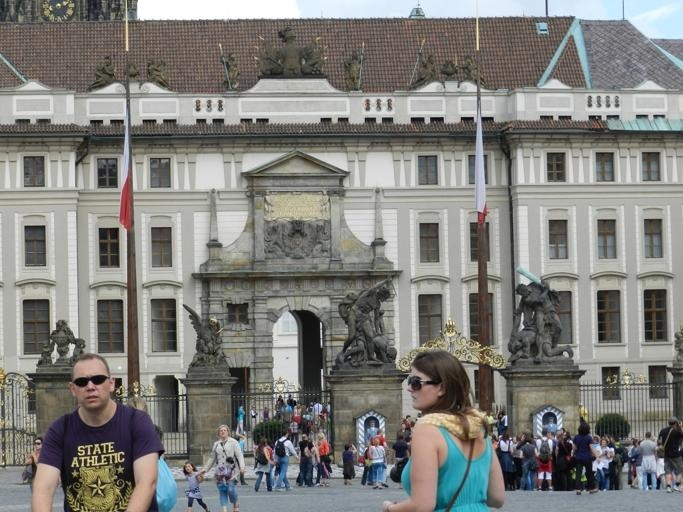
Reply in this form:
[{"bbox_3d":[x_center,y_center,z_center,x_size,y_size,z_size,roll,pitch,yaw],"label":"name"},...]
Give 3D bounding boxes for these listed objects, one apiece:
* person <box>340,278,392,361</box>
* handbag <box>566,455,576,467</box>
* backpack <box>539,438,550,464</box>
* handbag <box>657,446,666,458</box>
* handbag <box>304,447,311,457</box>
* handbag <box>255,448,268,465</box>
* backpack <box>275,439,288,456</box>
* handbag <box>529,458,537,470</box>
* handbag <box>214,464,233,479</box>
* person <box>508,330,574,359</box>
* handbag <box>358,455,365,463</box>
[{"bbox_3d":[0.822,2.552,71.548,1.243,3.446,0.926,-5,-4,-27],"label":"person"},{"bbox_3d":[7.340,6.534,65.523,0.150,0.358,0.332,8,-13,-41],"label":"handbag"},{"bbox_3d":[6.588,6.340,66.564,0.444,0.581,0.631,3,-10,1],"label":"backpack"},{"bbox_3d":[10.155,6.179,65.228,0.169,0.341,0.415,0,-10,-7],"label":"handbag"},{"bbox_3d":[-1.073,6.388,67.289,0.110,0.269,0.206,-4,1,-38],"label":"handbag"},{"bbox_3d":[-2.540,6.426,66.283,0.513,0.589,0.323,-6,-8,-2],"label":"handbag"},{"bbox_3d":[-1.924,6.201,66.548,0.378,0.508,0.541,-1,-13,9],"label":"backpack"},{"bbox_3d":[6.208,6.730,66.583,0.290,0.258,0.475,-2,-12,-6],"label":"handbag"},{"bbox_3d":[-3.406,6.335,60.482,0.396,0.492,0.227,8,-2,13],"label":"handbag"},{"bbox_3d":[6.779,3.099,70.992,1.947,1.023,0.623,-1,-10,2],"label":"person"},{"bbox_3d":[0.735,6.978,70.868,0.253,0.329,0.322,-2,-5,1],"label":"handbag"}]
